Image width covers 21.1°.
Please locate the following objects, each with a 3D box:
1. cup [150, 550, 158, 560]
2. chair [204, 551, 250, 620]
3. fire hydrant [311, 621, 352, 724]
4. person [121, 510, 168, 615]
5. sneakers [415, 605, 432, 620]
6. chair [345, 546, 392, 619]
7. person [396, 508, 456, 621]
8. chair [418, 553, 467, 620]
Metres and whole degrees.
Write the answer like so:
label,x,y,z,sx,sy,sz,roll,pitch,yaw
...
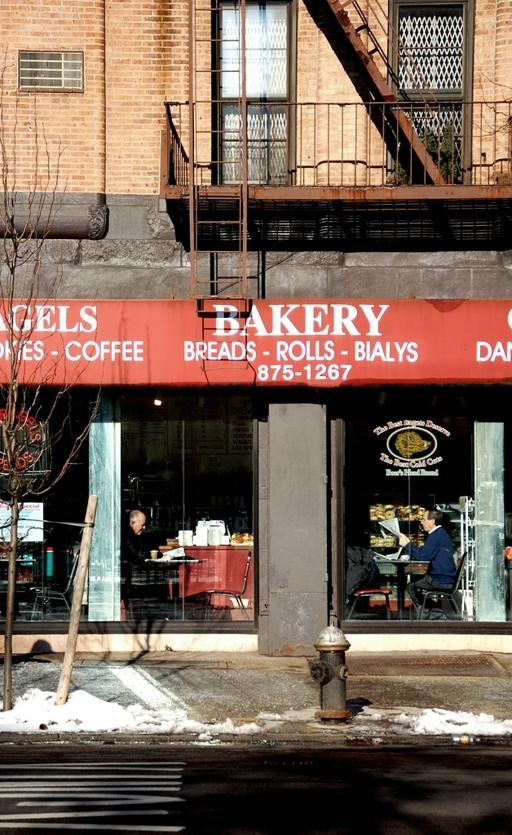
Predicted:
label,x,y,z,sx,sy,sz,roll,pitch,yaw
cup,-1.089,1.491,14.768,0.076,0.105,0.082,0,-6,0
chair,-0.303,1.845,14.877,0.465,0.871,0.487,7,-1,-13
fire hydrant,0.614,2.143,11.363,0.306,0.728,0.419,0,4,3
person,-1.241,1.599,14.932,0.325,1.308,0.383,3,30,6
sneakers,1.781,2.096,14.628,0.143,0.165,0.097,-5,-6,22
chair,1.197,1.838,14.824,0.432,0.900,0.585,0,-1,10
person,1.878,1.611,14.880,0.526,1.255,0.503,-5,11,-25
chair,1.998,1.828,14.841,0.503,0.832,0.507,0,16,-3
